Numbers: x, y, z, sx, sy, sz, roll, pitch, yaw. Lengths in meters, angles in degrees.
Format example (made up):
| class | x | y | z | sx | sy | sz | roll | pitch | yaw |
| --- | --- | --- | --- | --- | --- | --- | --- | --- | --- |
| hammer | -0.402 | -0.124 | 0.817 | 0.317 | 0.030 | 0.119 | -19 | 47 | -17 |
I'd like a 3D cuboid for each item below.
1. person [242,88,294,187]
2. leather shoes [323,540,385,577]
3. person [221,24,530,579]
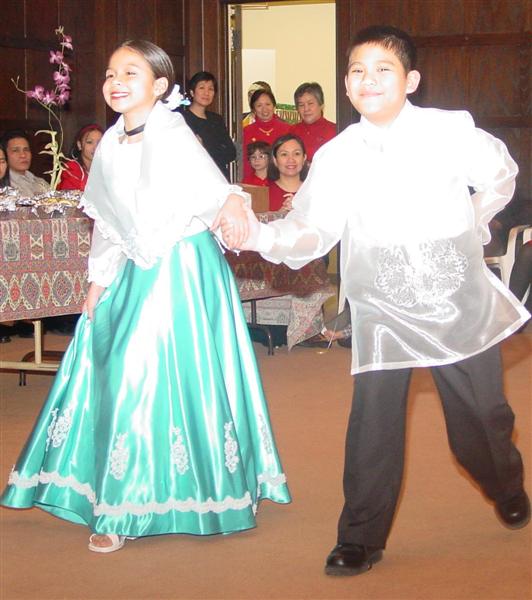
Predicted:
| class | x | y | z | sx | sy | sz | roll | pitch | yaw |
| --- | --- | --- | --- | --- | --- | --- | --- | --- | --- |
| person | 0.014 | -1.418 | 5.883 | 0.514 | 1.164 | 0.272 | 0 | 25 | 3 |
| leather shoes | 0.201 | 0.592 | 1.419 | 0.062 | 0.060 | 0.139 | -8 | -14 | 34 |
| person | 0.317 | -0.006 | 1.409 | 0.698 | 1.180 | 0.224 | -1 | 2 | -2 |
